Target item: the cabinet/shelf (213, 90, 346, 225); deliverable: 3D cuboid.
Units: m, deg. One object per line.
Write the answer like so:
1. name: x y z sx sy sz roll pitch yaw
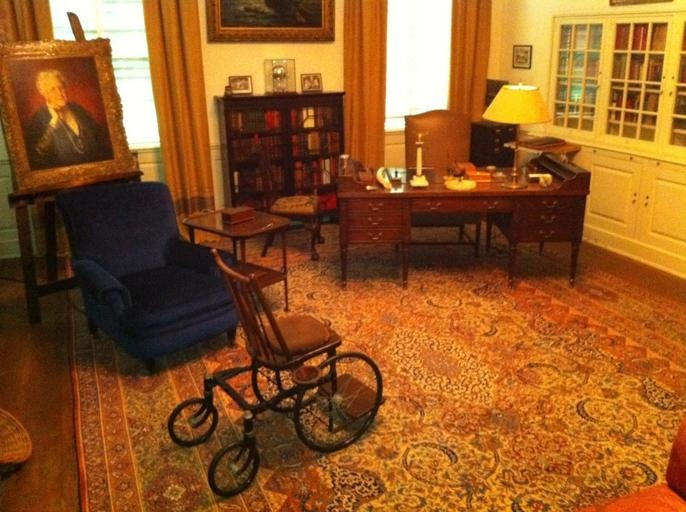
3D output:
1. cabinet/shelf: -0.817 -1.219 6.223 1.667 1.606 0.593 -8 21 -24

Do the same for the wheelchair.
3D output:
1. wheelchair: -0.444 0.594 3.300 1.397 1.268 0.872 -12 24 -22

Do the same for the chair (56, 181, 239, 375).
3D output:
1. chair: -1.594 0.124 4.302 1.258 1.179 1.089 22 28 35

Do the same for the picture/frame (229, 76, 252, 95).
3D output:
1. picture/frame: -1.260 -2.075 6.345 0.266 0.306 0.024 -12 11 -16

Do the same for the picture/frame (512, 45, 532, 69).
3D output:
1. picture/frame: 2.446 -2.704 7.081 0.025 0.347 0.349 -13 25 -27

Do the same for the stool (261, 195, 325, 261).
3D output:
1. stool: -0.571 -0.379 5.860 0.746 0.623 0.714 -4 38 -8

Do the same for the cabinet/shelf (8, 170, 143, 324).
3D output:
1. cabinet/shelf: -2.276 -0.071 4.481 1.153 1.026 0.886 -18 32 -36
